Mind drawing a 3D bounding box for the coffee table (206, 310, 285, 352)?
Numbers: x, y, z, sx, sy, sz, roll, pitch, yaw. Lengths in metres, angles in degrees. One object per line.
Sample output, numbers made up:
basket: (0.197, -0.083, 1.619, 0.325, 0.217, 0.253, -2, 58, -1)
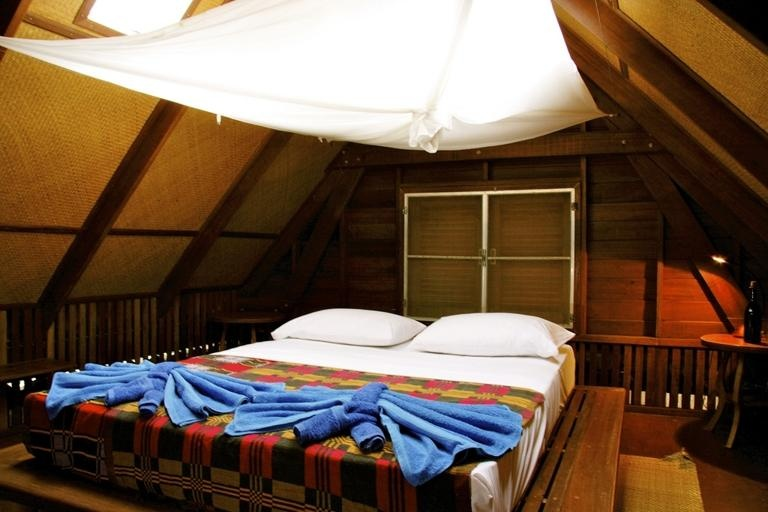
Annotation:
coffee table: (-1.348, 0.654, 5.547, 0.586, 0.356, 0.521, 0, -1, 11)

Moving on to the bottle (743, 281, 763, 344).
bottle: (2.706, 0.395, 4.171, 0.119, 0.426, 0.333, 7, 10, 32)
